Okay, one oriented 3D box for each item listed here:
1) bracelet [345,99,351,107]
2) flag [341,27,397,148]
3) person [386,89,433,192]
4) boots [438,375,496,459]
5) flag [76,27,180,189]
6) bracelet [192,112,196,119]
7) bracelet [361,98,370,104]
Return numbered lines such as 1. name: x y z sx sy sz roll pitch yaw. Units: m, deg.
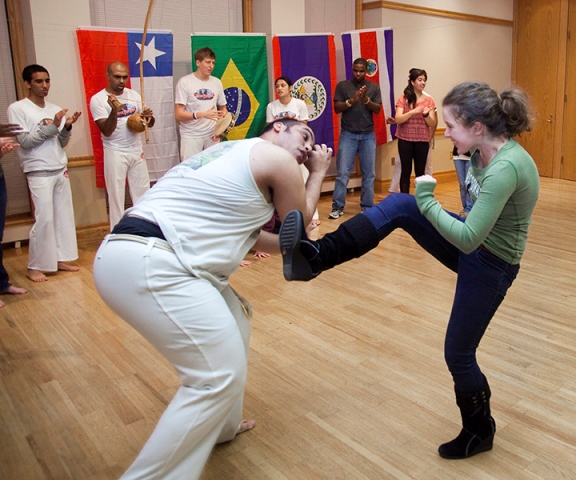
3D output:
1. bracelet: 0.771 -1.765 5.630 0.030 0.091 0.069 1 10 -33
2. flag: 1.265 -2.489 6.624 0.707 0.088 1.700 2 -28 19
3. person: 1.689 -1.393 5.975 0.565 1.545 0.407 1 32 11
4. boots: 0.731 0.742 1.819 0.222 0.313 0.132 -10 11 1
5. flag: -1.774 -1.624 4.957 0.964 1.885 0.039 -5 -18 -20
6. bracelet: -1.088 -1.455 5.089 0.018 0.066 0.058 3 18 -3
7. bracelet: 1.003 -1.805 5.632 0.062 0.031 0.078 12 -12 -11
